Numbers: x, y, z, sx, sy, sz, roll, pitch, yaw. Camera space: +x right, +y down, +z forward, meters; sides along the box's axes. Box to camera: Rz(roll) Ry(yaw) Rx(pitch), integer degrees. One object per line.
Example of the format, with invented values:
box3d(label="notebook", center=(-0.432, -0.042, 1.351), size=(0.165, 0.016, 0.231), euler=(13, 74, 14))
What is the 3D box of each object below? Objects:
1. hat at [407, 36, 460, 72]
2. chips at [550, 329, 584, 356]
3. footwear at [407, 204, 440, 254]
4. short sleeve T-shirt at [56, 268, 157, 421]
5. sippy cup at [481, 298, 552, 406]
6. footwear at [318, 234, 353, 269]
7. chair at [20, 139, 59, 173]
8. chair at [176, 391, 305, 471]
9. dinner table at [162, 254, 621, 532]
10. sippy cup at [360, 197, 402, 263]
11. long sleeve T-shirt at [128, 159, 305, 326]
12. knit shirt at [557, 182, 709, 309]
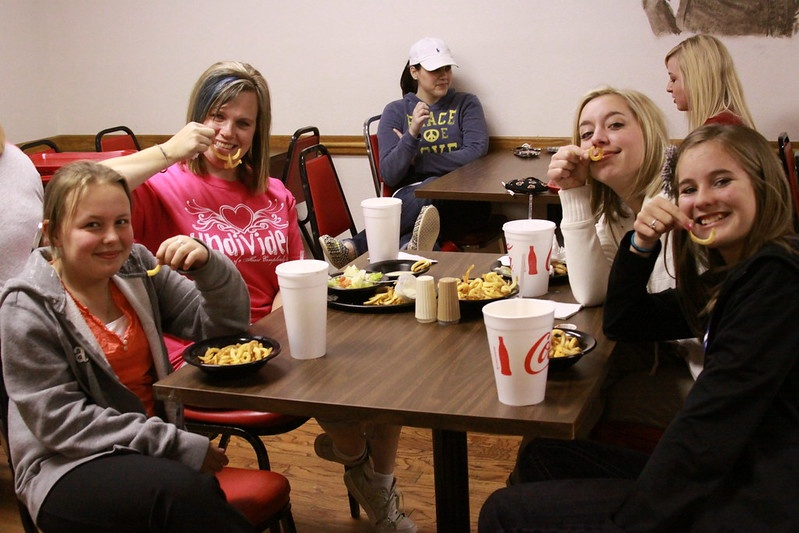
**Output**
box3d(label="hat", center=(0.237, -1.474, 3.910), size=(0.233, 0.165, 0.322), euler=(-13, 23, -33))
box3d(label="chips", center=(0.420, 0.196, 1.430), size=(0.069, 0.031, 0.080), euler=(-2, 9, 4))
box3d(label="footwear", center=(0.113, -0.150, 2.768), size=(0.119, 0.303, 0.115), euler=(22, 19, 39))
box3d(label="short sleeve T-shirt", center=(-0.861, 0.322, 1.737), size=(0.180, 0.504, 0.222), euler=(8, 17, 40))
box3d(label="sippy cup", center=(0.279, 0.207, 1.331), size=(0.176, 0.204, 0.178), euler=(-2, 3, 0))
box3d(label="footwear", center=(-0.281, -0.076, 2.556), size=(0.131, 0.102, 0.306), euler=(-26, -13, 0))
box3d(label="chair", center=(-1.830, -0.571, 2.839), size=(0.101, 0.126, 0.133), euler=(4, 29, 15))
box3d(label="chair", center=(-0.490, 0.489, 1.938), size=(0.368, 0.377, 0.288), euler=(-1, -1, 10))
box3d(label="dinner table", center=(0.071, 0.329, 1.486), size=(0.860, 0.519, 0.818), euler=(5, 25, 19))
box3d(label="sippy cup", center=(-0.062, -0.138, 2.088), size=(0.135, 0.235, 0.198), euler=(-7, 14, -5))
box3d(label="long sleeve T-shirt", center=(-0.661, -0.083, 1.946), size=(0.623, 0.556, 0.339), euler=(-2, -3, -45))
box3d(label="knit shirt", center=(0.742, -0.071, 1.910), size=(0.406, 0.386, 0.400), euler=(-5, 8, 1))
